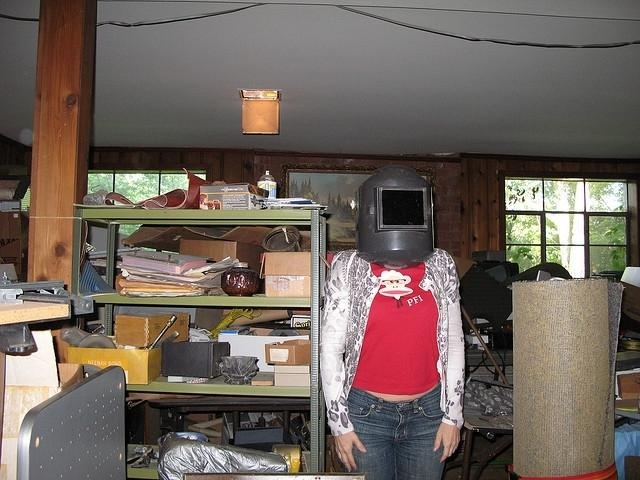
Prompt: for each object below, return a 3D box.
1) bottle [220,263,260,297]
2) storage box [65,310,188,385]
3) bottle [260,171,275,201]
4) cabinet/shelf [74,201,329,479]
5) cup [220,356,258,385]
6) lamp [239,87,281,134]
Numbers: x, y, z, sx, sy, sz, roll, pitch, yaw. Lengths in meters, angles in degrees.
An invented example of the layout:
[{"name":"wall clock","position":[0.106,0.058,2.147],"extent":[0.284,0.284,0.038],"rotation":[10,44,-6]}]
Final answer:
[{"name":"bottle","position":[-0.464,0.235,3.630],"extent":[0.251,0.187,0.256],"rotation":[-1,-6,0]},{"name":"storage box","position":[-1.113,0.606,3.569],"extent":[0.454,0.291,0.463],"rotation":[0,1,12]},{"name":"bottle","position":[-0.308,-0.322,3.676],"extent":[0.105,0.184,0.384],"rotation":[0,0,-6]},{"name":"cabinet/shelf","position":[-0.678,0.544,3.538],"extent":[1.638,1.601,0.536],"rotation":[0,2,3]},{"name":"cup","position":[-0.459,0.744,3.551],"extent":[0.155,0.113,0.165],"rotation":[0,-11,0]},{"name":"lamp","position":[-0.535,-1.164,5.645],"extent":[0.369,0.454,0.398],"rotation":[0,0,-5]}]
